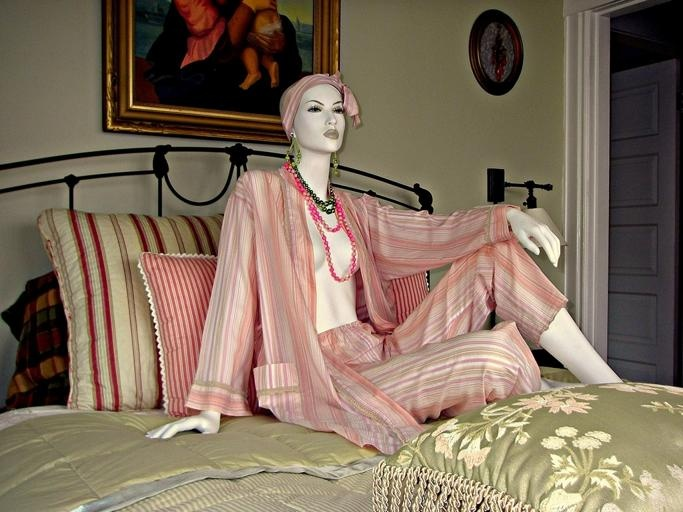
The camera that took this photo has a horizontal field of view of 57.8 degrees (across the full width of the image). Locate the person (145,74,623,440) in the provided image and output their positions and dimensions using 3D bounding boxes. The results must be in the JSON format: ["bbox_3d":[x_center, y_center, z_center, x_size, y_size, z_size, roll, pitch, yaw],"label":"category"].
[{"bbox_3d":[0.179,0.021,1.920,1.225,0.989,0.973,-2,0,27],"label":"person"}]

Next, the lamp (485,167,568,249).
[{"bbox_3d":[1.044,-0.263,3.475,0.398,0.508,0.471,-2,-1,26],"label":"lamp"}]

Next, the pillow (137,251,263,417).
[{"bbox_3d":[-0.426,0.230,1.844,0.475,0.457,0.127,7,-14,-44],"label":"pillow"}]

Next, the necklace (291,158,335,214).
[{"bbox_3d":[-0.112,-0.221,2.066,0.025,0.185,0.143,-29,-7,34],"label":"necklace"}]
